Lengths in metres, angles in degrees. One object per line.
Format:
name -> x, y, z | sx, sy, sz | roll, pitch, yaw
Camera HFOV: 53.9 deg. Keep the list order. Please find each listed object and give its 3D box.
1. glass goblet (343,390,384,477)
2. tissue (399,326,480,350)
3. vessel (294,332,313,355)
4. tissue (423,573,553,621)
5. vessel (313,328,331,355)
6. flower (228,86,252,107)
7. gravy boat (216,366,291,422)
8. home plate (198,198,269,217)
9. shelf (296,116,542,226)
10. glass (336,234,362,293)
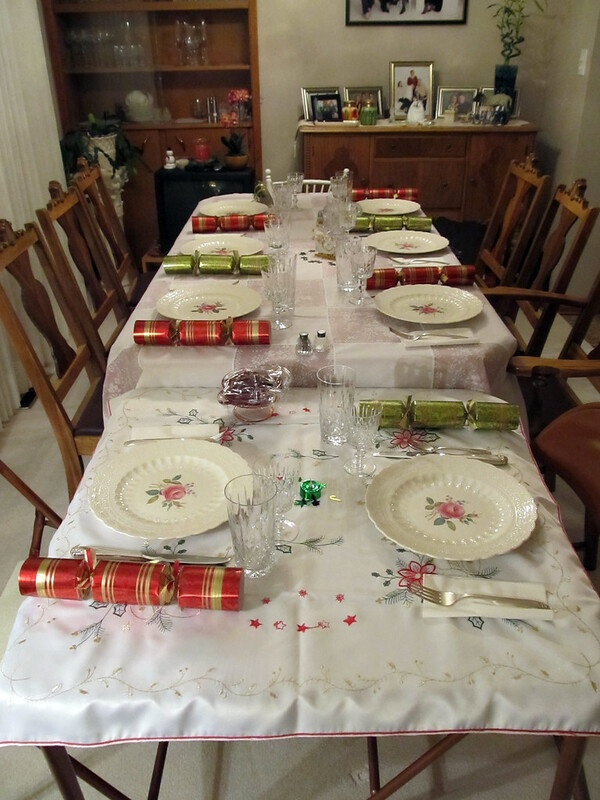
glass goblet -> 0.106, 0.070, 1.050 | 0.074, 0.122, 0.083 | 5, 5, 31
tissue -> 0.327, -0.145, 1.380 | 0.136, 0.025, 0.071 | -1, 36, -4
vessel -> 0.010, -0.128, 1.350 | 0.039, 0.052, 0.038 | -16, 33, -22
tissue -> 0.228, 0.238, 0.723 | 0.118, 0.017, 0.059 | 1, 37, 2
vessel -> 0.052, -0.131, 1.347 | 0.037, 0.051, 0.036 | -27, 48, -23
flower -> -0.392, -2.005, 3.910 | 0.154, 0.095, 0.178 | -4, 35, -6
gravy boat -> -0.090, -0.024, 1.153 | 0.106, 0.060, 0.126 | 33, 52, 29
home plate -> -0.277, -0.806, 2.481 | 0.199, 0.021, 0.199 | 5, 35, 5
shelf -> 0.777, -1.489, 4.112 | 1.508, 0.751, 0.445 | -2, 24, -4
glass -> 0.139, -0.380, 1.690 | 0.091, 0.140, 0.090 | -10, 8, -44
